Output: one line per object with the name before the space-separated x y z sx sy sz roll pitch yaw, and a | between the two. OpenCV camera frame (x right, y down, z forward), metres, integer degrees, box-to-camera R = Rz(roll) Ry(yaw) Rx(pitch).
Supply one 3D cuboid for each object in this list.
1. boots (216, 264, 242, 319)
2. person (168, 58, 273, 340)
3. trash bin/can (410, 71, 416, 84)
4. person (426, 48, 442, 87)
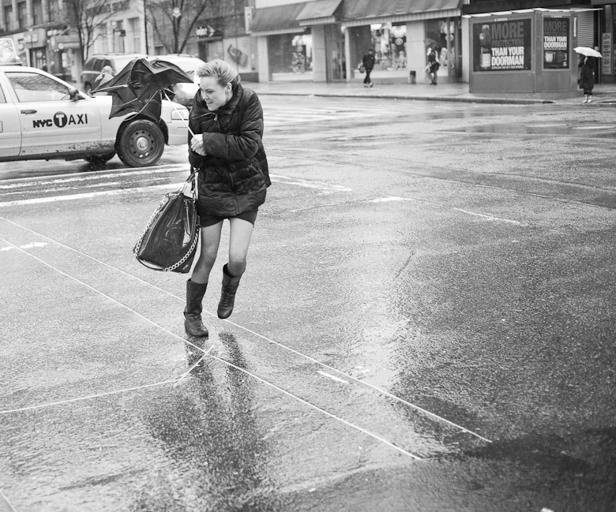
boots | -0.640 0.301 4.591 0.179 0.393 0.403 11 -34 -15
person | -0.639 -0.374 4.089 0.685 2.022 0.574 1 13 10
trash bin/can | 7.985 -13.658 42.530 0.445 0.983 0.441 -2 13 0
person | 9.114 -13.980 40.950 0.911 2.678 1.521 1 13 12
